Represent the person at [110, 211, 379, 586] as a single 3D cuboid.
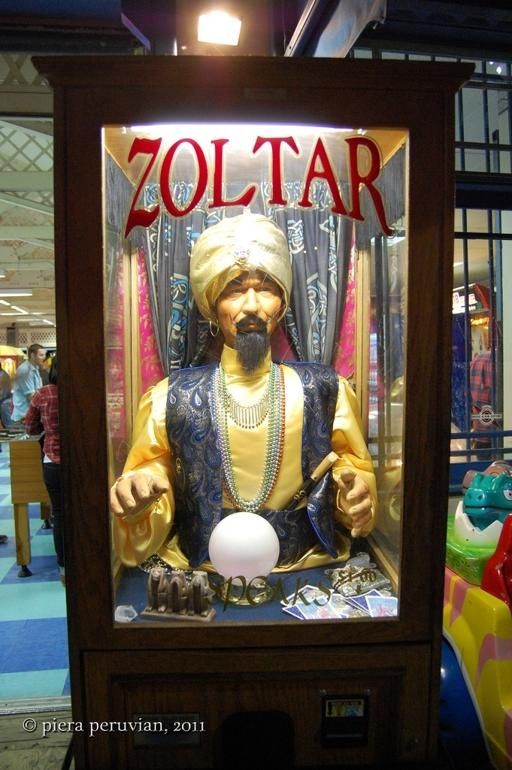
[{"bbox_3d":[-0.049,0.028,1.876,0.791,1.045,0.563,2,-6,-15],"label":"person"}]
